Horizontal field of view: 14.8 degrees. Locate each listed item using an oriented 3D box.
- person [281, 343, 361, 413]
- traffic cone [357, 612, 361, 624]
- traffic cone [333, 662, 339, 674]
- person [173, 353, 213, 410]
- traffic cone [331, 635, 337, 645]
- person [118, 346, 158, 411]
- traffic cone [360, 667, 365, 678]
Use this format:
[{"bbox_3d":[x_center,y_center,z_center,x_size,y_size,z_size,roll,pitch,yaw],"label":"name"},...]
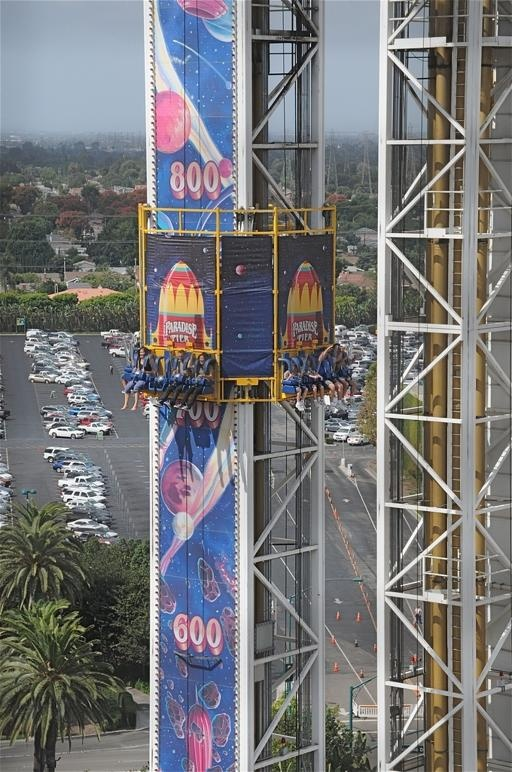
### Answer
[{"bbox_3d":[1.516,-0.209,50.029,0.624,1.545,2.475,3,8,43],"label":"person"},{"bbox_3d":[6.592,15.261,129.093,0.268,0.639,0.320,0,-2,-2],"label":"traffic cone"},{"bbox_3d":[4.446,16.028,111.440,0.244,0.584,0.303,-1,-1,-13],"label":"traffic cone"},{"bbox_3d":[-1.362,-0.063,49.611,0.731,1.245,0.631,10,-12,2],"label":"person"},{"bbox_3d":[4.618,15.632,120.699,0.289,0.466,0.374,1,1,3],"label":"traffic cone"},{"bbox_3d":[-3.176,-0.167,51.567,0.841,1.844,3.860,-2,6,-4],"label":"person"},{"bbox_3d":[5.796,16.139,109.755,0.274,0.531,0.335,0,5,0],"label":"traffic cone"}]
